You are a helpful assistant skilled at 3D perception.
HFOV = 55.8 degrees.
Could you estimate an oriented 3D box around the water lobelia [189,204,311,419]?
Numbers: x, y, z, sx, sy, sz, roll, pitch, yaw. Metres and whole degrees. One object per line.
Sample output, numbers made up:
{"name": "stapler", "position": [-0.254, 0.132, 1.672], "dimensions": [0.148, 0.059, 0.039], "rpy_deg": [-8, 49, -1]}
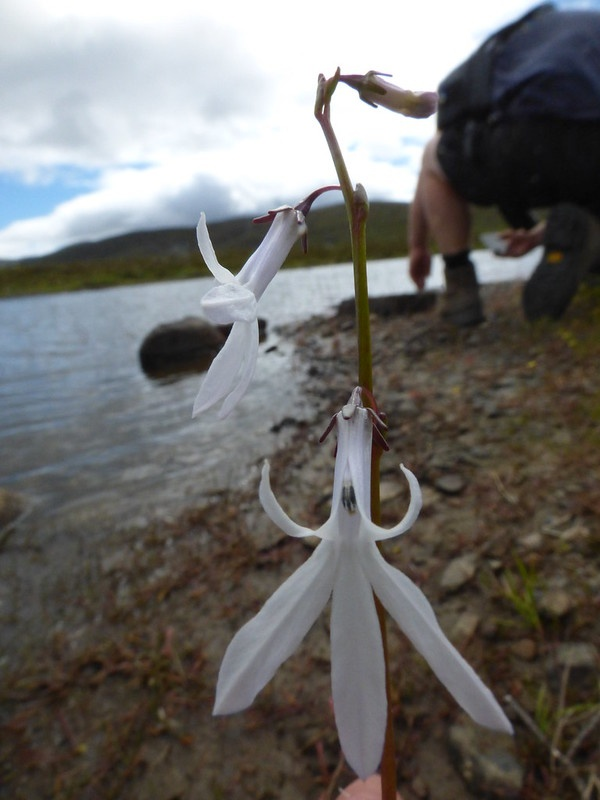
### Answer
{"name": "water lobelia", "position": [-0.100, -0.170, 1.050], "dimensions": [0.201, 0.351, 0.408], "rpy_deg": [-3, 19, 16]}

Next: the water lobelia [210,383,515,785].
{"name": "water lobelia", "position": [0.091, 0.270, 0.926], "dimensions": [0.292, 0.527, 0.348], "rpy_deg": [2, -5, 37]}

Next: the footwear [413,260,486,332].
{"name": "footwear", "position": [0.414, -0.330, 1.663], "dimensions": [0.136, 0.255, 0.145], "rpy_deg": [2, 60, 15]}

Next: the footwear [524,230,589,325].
{"name": "footwear", "position": [0.551, -0.263, 1.242], "dimensions": [0.036, 0.170, 0.081], "rpy_deg": [-8, 20, -41]}
